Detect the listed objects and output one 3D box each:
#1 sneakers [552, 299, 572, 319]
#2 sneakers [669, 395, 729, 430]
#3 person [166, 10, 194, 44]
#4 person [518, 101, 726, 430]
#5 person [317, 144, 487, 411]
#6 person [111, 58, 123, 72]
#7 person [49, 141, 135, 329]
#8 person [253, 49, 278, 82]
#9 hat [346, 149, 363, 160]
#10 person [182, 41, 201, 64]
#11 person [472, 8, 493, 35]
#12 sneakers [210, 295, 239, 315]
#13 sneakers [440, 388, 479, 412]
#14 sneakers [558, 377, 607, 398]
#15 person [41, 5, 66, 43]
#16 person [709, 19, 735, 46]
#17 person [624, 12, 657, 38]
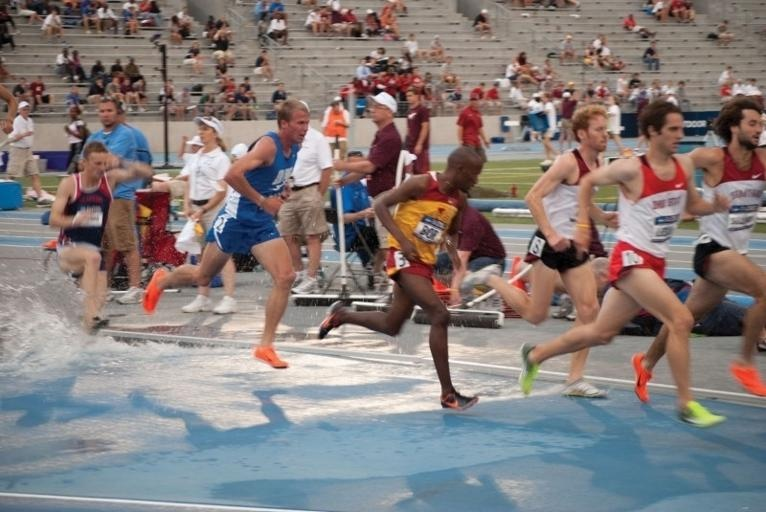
[{"bbox_3d":[2.079,0.655,9.202,0.343,0.225,0.146,1,-5,10],"label":"sneakers"},{"bbox_3d":[2.368,1.191,5.807,0.423,0.143,0.163,4,24,29],"label":"sneakers"},{"bbox_3d":[-9.084,-10.275,34.385,0.984,1.487,1.385,-3,15,-11],"label":"person"},{"bbox_3d":[2.063,0.005,6.111,1.498,2.455,0.927,10,19,33],"label":"person"},{"bbox_3d":[0.366,0.155,6.464,0.782,2.137,1.400,-13,20,-38],"label":"person"},{"bbox_3d":[-10.301,-7.373,29.736,0.459,0.567,1.038,-5,14,-17],"label":"person"},{"bbox_3d":[-3.090,-0.240,8.192,0.816,1.942,0.948,0,16,1],"label":"person"},{"bbox_3d":[-5.212,-8.363,33.625,0.904,1.327,1.437,-2,14,-7],"label":"person"},{"bbox_3d":[-0.404,-1.446,10.832,0.207,0.076,0.229,-1,3,4],"label":"hat"},{"bbox_3d":[-8.213,-8.712,32.952,0.715,0.867,1.031,-3,14,-10],"label":"person"},{"bbox_3d":[5.377,-12.672,41.665,0.987,1.436,1.388,1,14,4],"label":"person"},{"bbox_3d":[-1.906,0.603,9.358,0.177,0.127,0.341,1,-1,29],"label":"sneakers"},{"bbox_3d":[0.588,1.172,6.240,0.332,0.105,0.166,-7,16,29],"label":"sneakers"},{"bbox_3d":[1.707,1.144,6.632,0.369,0.111,0.164,-1,3,5],"label":"sneakers"},{"bbox_3d":[-13.808,-9.723,32.133,0.647,1.338,1.096,3,15,11],"label":"person"},{"bbox_3d":[19.239,-12.829,43.858,1.372,1.269,1.699,5,15,20],"label":"person"},{"bbox_3d":[14.303,-13.070,43.547,1.494,0.946,2.010,-13,34,-27],"label":"person"}]
